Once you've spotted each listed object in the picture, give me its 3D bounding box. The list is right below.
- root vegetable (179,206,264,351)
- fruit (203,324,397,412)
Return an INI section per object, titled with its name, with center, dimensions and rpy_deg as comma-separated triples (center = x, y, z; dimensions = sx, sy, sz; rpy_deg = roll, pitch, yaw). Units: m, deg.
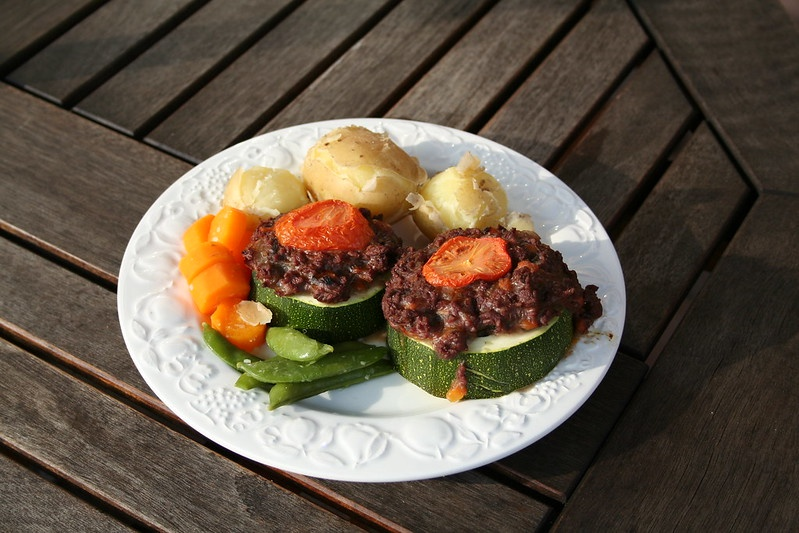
[root vegetable]
center = -0.798, 0.058, 3.171
dimensions = 0.397, 0.216, 0.651
rpy_deg = -7, 65, -13
[fruit]
center = -0.407, 0.436, 3.007
dimensions = 0.574, 0.164, 0.402
rpy_deg = 2, 39, 5
